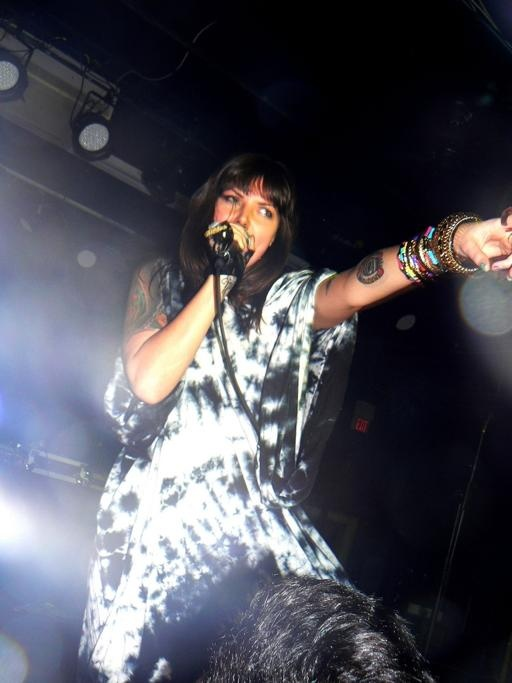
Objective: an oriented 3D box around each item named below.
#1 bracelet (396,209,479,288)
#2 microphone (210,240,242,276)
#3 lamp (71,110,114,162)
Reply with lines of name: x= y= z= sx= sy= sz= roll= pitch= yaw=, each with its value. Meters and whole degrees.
bracelet: x=0.578 y=-0.265 z=1.781 sx=0.202 sy=0.209 sz=0.203 roll=-6 pitch=2 yaw=-36
microphone: x=-0.087 y=-0.244 z=1.741 sx=0.101 sy=0.098 sz=0.066 roll=7 pitch=-7 yaw=-8
lamp: x=-0.903 y=-1.109 z=3.210 sx=0.231 sy=0.288 sz=0.093 roll=-16 pitch=-22 yaw=-2
